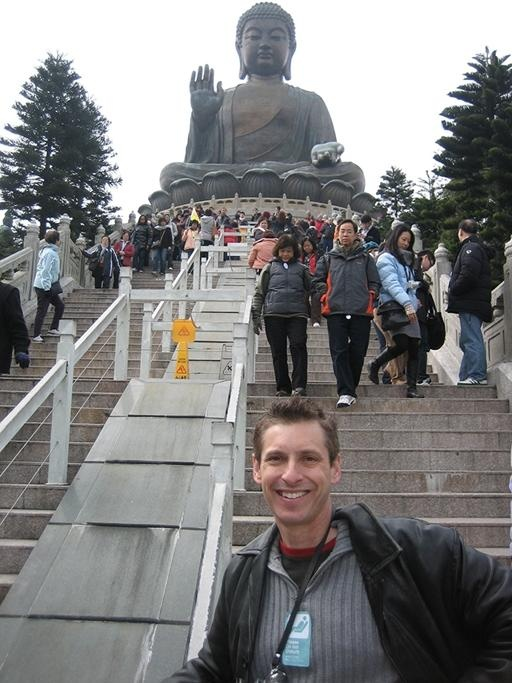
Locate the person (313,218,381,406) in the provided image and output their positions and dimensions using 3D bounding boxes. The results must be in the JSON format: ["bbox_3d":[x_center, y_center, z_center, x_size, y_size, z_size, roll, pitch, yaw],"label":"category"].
[{"bbox_3d":[0.986,-0.314,5.623,0.605,1.898,0.793,2,6,-11],"label":"person"}]

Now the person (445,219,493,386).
[{"bbox_3d":[2.549,-0.467,6.289,0.542,1.934,0.795,4,6,5],"label":"person"}]

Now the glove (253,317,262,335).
[{"bbox_3d":[0.032,-0.162,6.057,0.055,0.117,0.157,-2,-24,-4],"label":"glove"}]

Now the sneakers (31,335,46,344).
[{"bbox_3d":[-3.724,-0.034,9.160,0.268,0.127,0.083,-5,4,30],"label":"sneakers"}]

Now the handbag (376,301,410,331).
[{"bbox_3d":[1.499,-0.276,5.803,0.279,0.339,0.162,-7,-18,31],"label":"handbag"}]

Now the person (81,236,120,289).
[{"bbox_3d":[-4.068,-2.090,14.331,0.826,1.352,0.887,-1,8,-34],"label":"person"}]

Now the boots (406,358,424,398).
[{"bbox_3d":[1.684,0.378,5.694,0.184,0.417,0.369,5,7,16],"label":"boots"}]

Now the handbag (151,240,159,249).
[{"bbox_3d":[-2.742,-2.643,14.710,0.178,0.230,0.220,0,-20,-5],"label":"handbag"}]

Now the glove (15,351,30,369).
[{"bbox_3d":[-2.685,0.229,6.178,0.138,0.201,0.231,0,7,-29],"label":"glove"}]

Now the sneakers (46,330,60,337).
[{"bbox_3d":[-3.484,-0.131,9.236,0.120,0.095,0.275,-8,6,-28],"label":"sneakers"}]
